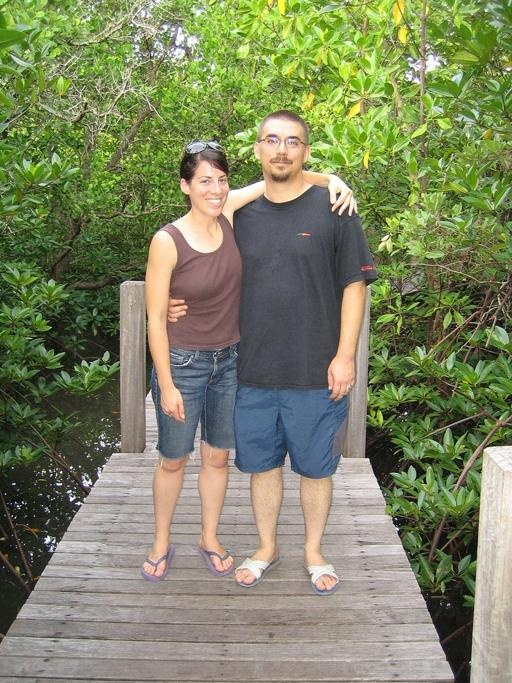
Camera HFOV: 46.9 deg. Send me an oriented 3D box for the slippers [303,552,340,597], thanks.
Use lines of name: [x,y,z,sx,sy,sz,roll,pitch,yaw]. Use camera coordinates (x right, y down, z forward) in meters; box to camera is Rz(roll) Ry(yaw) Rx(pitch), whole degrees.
slippers: [0.261,0.956,2.406,0.108,0.052,0.233,-3,11,-7]

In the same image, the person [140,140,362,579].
person: [-0.214,0.109,2.378,0.447,1.764,0.303,-4,13,-16]

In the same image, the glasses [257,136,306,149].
glasses: [0.094,-0.735,2.179,0.164,0.050,0.084,0,12,1]

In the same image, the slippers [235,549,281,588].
slippers: [-0.014,0.934,2.434,0.074,0.046,0.168,8,14,36]
